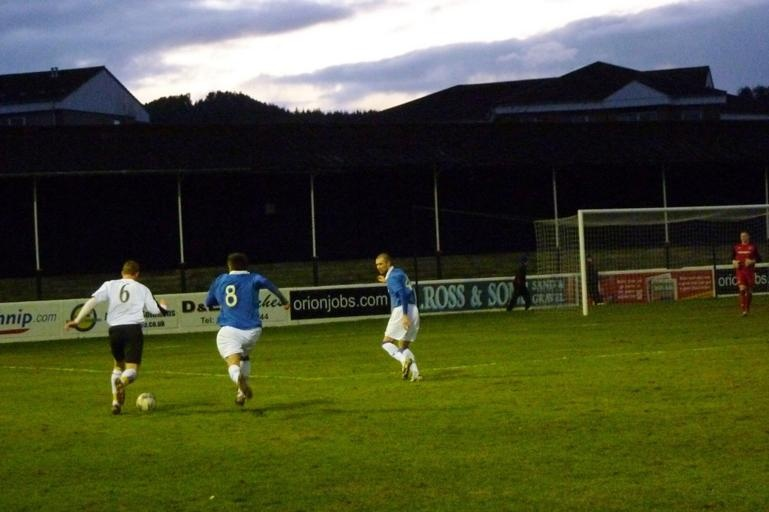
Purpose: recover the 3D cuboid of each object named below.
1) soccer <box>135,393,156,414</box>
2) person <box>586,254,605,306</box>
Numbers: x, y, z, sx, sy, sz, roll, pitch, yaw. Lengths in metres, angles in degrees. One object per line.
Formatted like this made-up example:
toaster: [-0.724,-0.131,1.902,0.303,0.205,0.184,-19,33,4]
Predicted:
soccer: [-5.264,3.221,22.344,0.377,0.391,0.389,-16,11,43]
person: [8.131,0.993,39.002,0.505,1.904,1.322,-4,-1,19]
